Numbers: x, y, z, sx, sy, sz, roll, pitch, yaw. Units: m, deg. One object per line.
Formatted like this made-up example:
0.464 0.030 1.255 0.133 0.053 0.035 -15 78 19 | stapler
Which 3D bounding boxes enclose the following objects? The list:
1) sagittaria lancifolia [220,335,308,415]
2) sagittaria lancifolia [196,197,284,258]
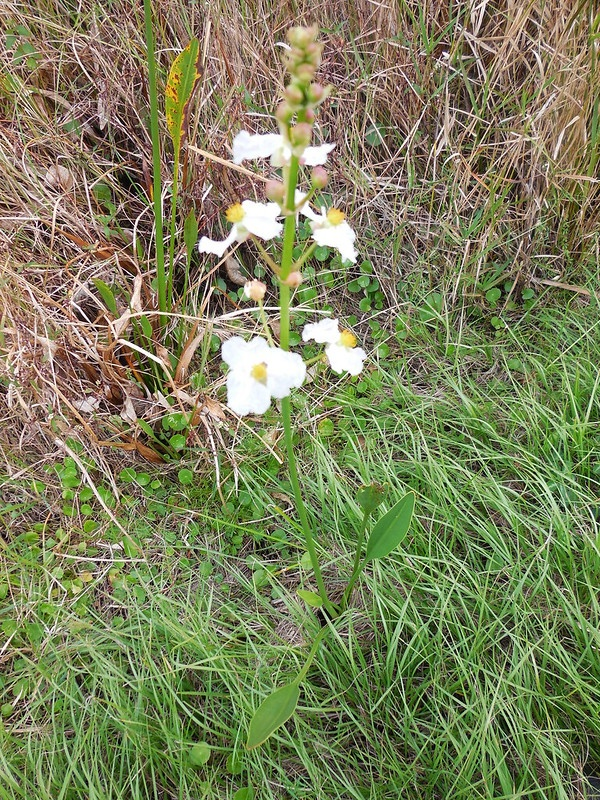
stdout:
-0.069 -0.034 1.212 0.146 0.175 0.117 -22 65 -10 | sagittaria lancifolia
-0.118 -0.354 1.296 0.152 0.066 0.160 -30 40 -23 | sagittaria lancifolia
